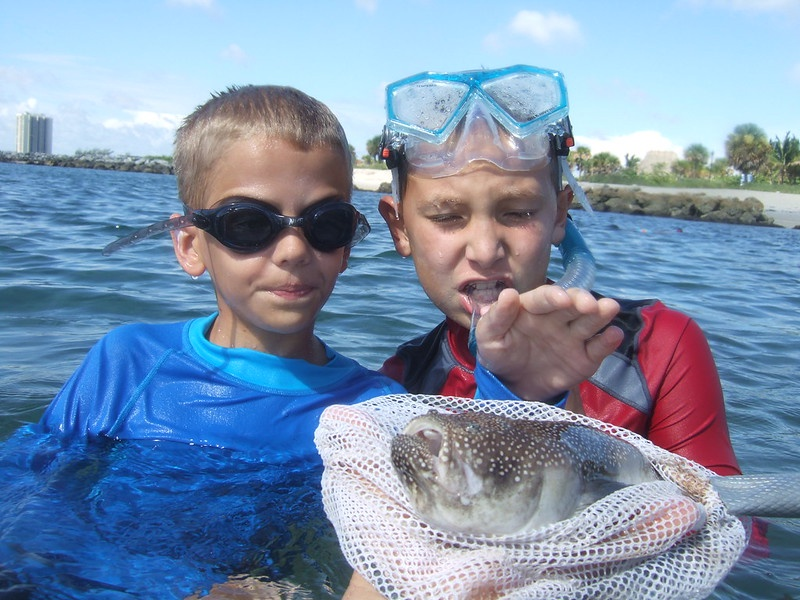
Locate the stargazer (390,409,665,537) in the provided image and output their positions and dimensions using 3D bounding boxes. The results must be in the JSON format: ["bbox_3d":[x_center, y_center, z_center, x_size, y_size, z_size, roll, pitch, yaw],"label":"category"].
[{"bbox_3d":[0.366,0.471,1.931,0.765,0.298,0.236,-3,10,-11],"label":"stargazer"}]

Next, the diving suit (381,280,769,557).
[{"bbox_3d":[0.935,0.366,3.654,1.325,1.229,1.688,7,7,35],"label":"diving suit"}]
